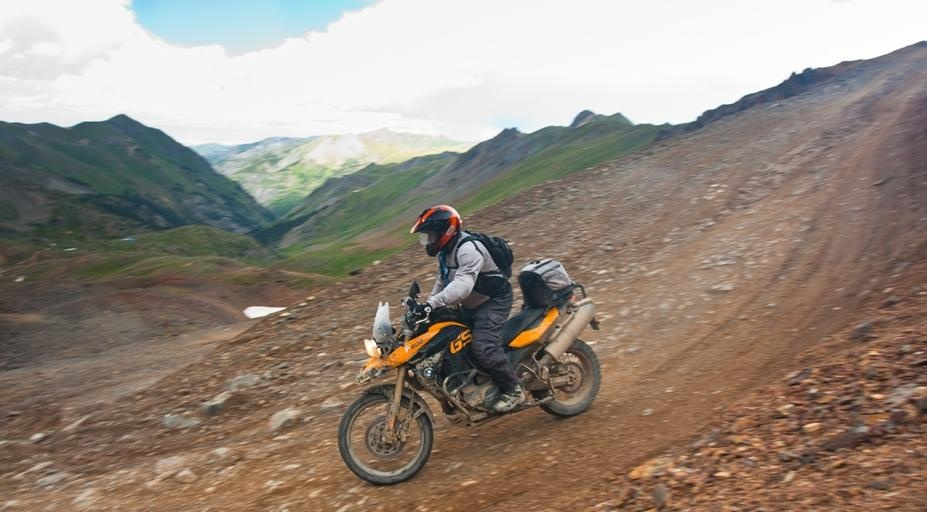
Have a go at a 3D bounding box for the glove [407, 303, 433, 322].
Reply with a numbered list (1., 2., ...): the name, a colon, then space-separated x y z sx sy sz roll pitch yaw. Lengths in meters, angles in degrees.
1. glove: -1.022 1.263 13.145 0.543 0.187 0.549 -2 0 -10
